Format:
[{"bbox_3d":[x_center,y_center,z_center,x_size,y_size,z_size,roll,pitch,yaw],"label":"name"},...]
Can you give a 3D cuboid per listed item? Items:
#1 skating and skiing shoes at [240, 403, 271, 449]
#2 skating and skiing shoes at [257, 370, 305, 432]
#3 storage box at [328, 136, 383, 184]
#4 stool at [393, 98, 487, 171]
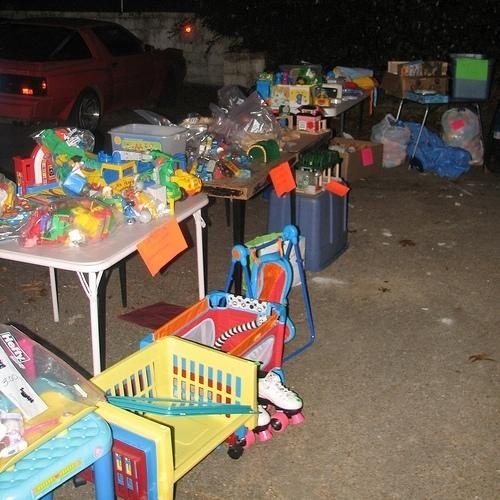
[{"bbox_3d":[0.063,0.756,2.147,0.092,0.118,0.267,-12,8,5],"label":"skating and skiing shoes"},{"bbox_3d":[0.035,0.689,2.168,0.356,0.183,0.185,2,12,26],"label":"skating and skiing shoes"},{"bbox_3d":[1.209,-1.025,5.387,0.928,0.369,0.642,-19,30,-40],"label":"storage box"},{"bbox_3d":[2.717,-1.904,6.785,1.575,1.134,1.182,9,34,19],"label":"stool"}]
